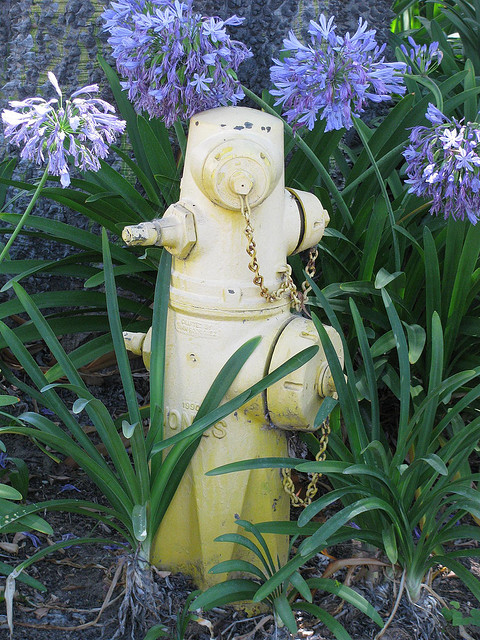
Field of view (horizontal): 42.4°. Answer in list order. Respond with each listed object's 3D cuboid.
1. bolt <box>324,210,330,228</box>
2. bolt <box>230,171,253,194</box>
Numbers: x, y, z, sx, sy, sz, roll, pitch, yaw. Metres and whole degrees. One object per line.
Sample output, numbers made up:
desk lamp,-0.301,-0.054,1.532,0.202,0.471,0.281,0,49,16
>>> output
bolt,0.168,-0.195,1.196,0.013,0.033,0.025,-7,16,-3
bolt,0.004,-0.213,0.964,0.039,0.032,0.032,-15,91,6
